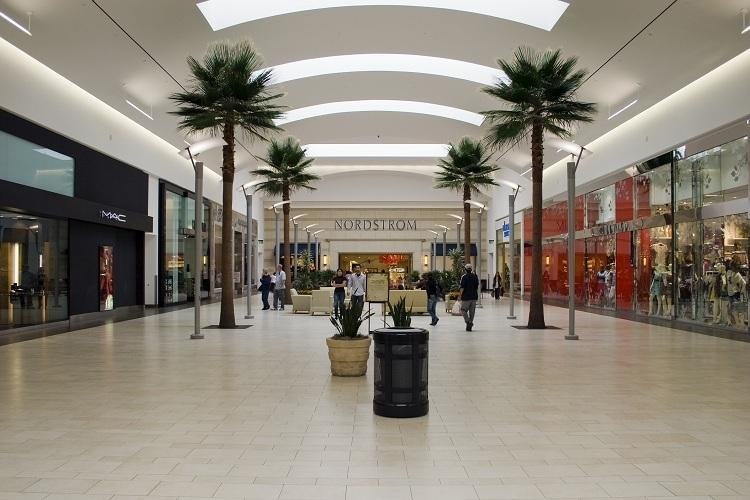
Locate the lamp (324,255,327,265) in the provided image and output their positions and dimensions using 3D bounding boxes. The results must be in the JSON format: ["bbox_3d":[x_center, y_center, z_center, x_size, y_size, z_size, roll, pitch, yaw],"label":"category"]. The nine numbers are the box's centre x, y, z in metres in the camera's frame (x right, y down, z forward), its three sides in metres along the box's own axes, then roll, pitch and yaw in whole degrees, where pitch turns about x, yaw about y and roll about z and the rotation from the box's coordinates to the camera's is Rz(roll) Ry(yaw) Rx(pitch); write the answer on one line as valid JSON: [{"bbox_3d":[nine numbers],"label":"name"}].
[{"bbox_3d":[-5.028,0.953,51.800,0.373,0.970,0.181,0,0,-7],"label":"lamp"}]

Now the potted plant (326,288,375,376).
[{"bbox_3d":[-0.570,1.905,11.023,1.020,1.430,1.009,-11,-18,34],"label":"potted plant"}]

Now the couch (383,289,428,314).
[{"bbox_3d":[1.250,2.044,20.437,1.911,1.270,1.039,1,7,0],"label":"couch"}]

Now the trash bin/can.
[{"bbox_3d":[0.415,1.975,8.254,0.873,1.367,0.385,0,0,-2],"label":"trash bin/can"}]

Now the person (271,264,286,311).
[{"bbox_3d":[-4.938,1.879,26.254,0.538,2.318,1.189,0,0,-15],"label":"person"}]
